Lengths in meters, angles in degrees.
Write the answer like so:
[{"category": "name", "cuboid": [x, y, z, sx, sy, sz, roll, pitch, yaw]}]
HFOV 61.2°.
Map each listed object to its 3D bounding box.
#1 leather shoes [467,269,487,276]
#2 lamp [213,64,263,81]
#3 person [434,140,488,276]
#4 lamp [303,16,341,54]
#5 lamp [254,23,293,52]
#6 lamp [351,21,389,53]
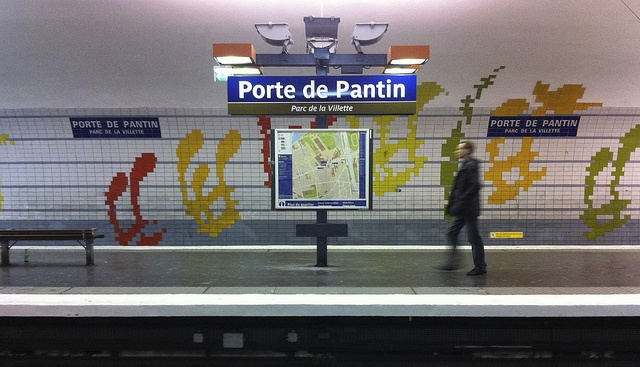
[{"category": "leather shoes", "cuboid": [3.992, 2.255, 13.747, 0.588, 0.172, 0.166, 2, -4, 3]}, {"category": "lamp", "cuboid": [-2.275, -3.146, 15.185, 1.332, 0.245, 1.263, 0, 1, 6]}, {"category": "person", "cuboid": [3.686, 0.677, 13.744, 0.906, 3.410, 1.173, -1, 17, -12]}, {"category": "lamp", "cuboid": [0.045, -3.996, 14.917, 1.071, 0.947, 1.106, -1, -24, -1]}, {"category": "lamp", "cuboid": [-1.310, -4.047, 14.797, 0.962, 0.425, 0.647, -4, 4, -5]}, {"category": "lamp", "cuboid": [1.322, -4.040, 14.885, 1.068, 0.539, 0.748, -7, 5, -4]}]
